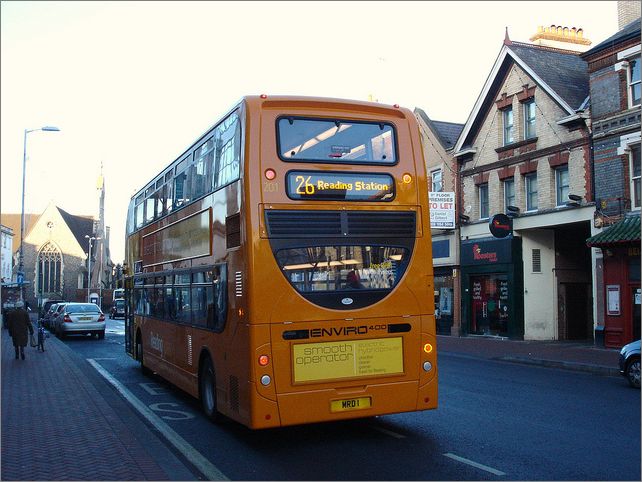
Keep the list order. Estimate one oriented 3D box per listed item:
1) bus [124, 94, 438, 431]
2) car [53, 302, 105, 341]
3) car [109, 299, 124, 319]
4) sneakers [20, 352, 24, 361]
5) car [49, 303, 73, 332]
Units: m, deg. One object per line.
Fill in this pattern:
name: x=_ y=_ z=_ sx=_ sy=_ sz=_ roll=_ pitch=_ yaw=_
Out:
bus: x=-0.459 y=0.527 z=9.301 sx=1.988 sy=3.089 sz=5.797 roll=0 pitch=-3 yaw=-25
car: x=-12.356 y=4.163 z=29.904 sx=2.504 sy=1.827 sz=1.277 roll=-4 pitch=-7 yaw=13
car: x=-20.379 y=6.781 z=58.068 sx=1.043 sy=1.878 sz=1.976 roll=2 pitch=-8 yaw=-31
sneakers: x=-9.642 y=3.711 z=18.733 sx=0.111 sy=0.247 sz=0.340 roll=1 pitch=-8 yaw=-27
car: x=-15.095 y=4.406 z=33.159 sx=1.399 sy=1.456 sz=2.560 roll=1 pitch=1 yaw=-16
